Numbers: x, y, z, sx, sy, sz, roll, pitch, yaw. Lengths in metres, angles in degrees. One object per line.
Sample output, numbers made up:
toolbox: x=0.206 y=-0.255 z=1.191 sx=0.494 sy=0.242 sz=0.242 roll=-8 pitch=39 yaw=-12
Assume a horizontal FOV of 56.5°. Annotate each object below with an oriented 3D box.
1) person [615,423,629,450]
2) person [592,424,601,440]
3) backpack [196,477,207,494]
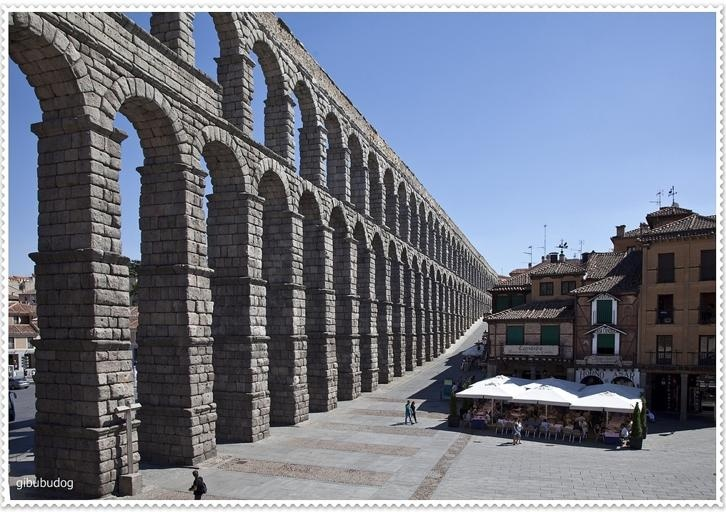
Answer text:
person: x=13.199 y=9.122 z=34.178 sx=0.607 sy=1.237 sz=1.718 roll=2 pitch=0 yaw=26
person: x=12.375 y=9.308 z=35.609 sx=0.727 sy=0.800 sz=0.746 roll=-3 pitch=-16 yaw=11
backpack: x=-5.843 y=8.368 z=24.509 sx=0.253 sy=0.525 sz=0.351 roll=2 pitch=0 yaw=13
